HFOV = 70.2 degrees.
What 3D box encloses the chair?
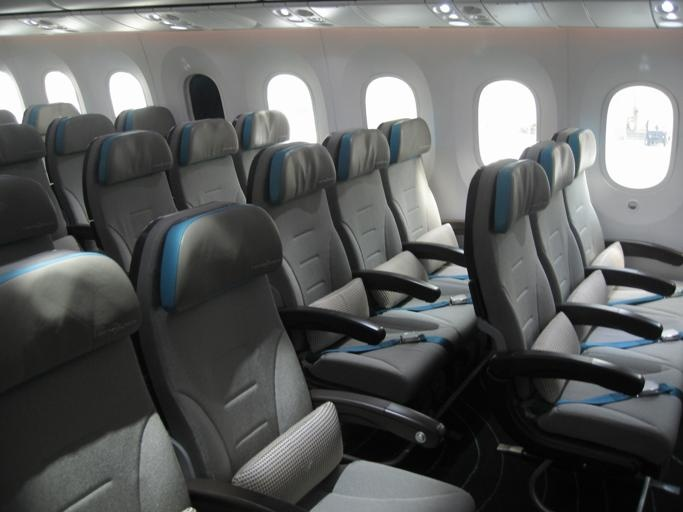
[{"bbox_3d":[-0.177,0.033,1.604,1.100,1.094,0.758,-2,13,23],"label":"chair"}]
